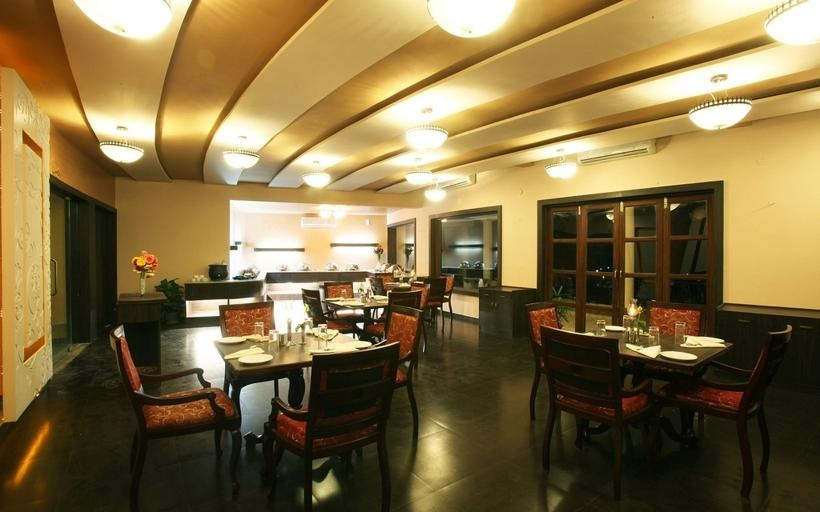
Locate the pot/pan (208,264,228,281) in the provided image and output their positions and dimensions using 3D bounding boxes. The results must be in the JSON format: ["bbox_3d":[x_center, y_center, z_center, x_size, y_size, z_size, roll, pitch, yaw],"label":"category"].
[{"bbox_3d":[-4.166,0.361,11.864,0.398,0.260,0.348,0,-7,-15],"label":"pot/pan"}]

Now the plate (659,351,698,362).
[{"bbox_3d":[3.033,1.139,6.173,0.398,0.067,0.239,-1,1,10],"label":"plate"}]

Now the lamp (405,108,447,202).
[{"bbox_3d":[0.287,-1.722,9.323,0.769,1.502,0.849,-4,-6,43],"label":"lamp"}]

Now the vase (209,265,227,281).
[{"bbox_3d":[-4.170,0.369,11.860,0.392,0.258,0.341,1,-8,-18],"label":"vase"}]

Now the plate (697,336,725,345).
[{"bbox_3d":[3.684,1.041,6.670,0.271,0.063,0.347,-1,1,23],"label":"plate"}]

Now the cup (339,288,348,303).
[{"bbox_3d":[-1.185,0.707,9.941,0.165,0.273,0.158,-10,-2,0],"label":"cup"}]

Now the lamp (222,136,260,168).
[{"bbox_3d":[-2.764,-1.669,8.915,0.478,0.438,0.459,1,-7,-8],"label":"lamp"}]

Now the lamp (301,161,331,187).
[{"bbox_3d":[-1.682,-1.499,10.199,0.510,0.512,0.485,2,-5,-30],"label":"lamp"}]

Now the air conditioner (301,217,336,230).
[{"bbox_3d":[-2.847,-1.038,17.034,0.973,0.302,1.024,-1,1,-6],"label":"air conditioner"}]

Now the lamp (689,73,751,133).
[{"bbox_3d":[3.951,-1.836,6.949,0.700,0.588,0.695,-2,-7,30],"label":"lamp"}]

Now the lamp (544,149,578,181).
[{"bbox_3d":[2.664,-1.600,9.477,0.589,0.507,0.566,1,-4,-4],"label":"lamp"}]

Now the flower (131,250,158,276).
[{"bbox_3d":[-4.709,0.136,9.623,0.493,0.460,0.464,12,-4,-9],"label":"flower"}]

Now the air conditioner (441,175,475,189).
[{"bbox_3d":[1.164,-1.624,12.150,0.158,0.210,0.959,-16,9,-36],"label":"air conditioner"}]

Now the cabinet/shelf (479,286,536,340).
[{"bbox_3d":[1.950,1.018,10.993,0.904,1.263,1.340,2,-3,-24],"label":"cabinet/shelf"}]

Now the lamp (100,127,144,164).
[{"bbox_3d":[-4.483,-1.669,8.570,0.569,0.526,0.547,-1,-7,-4],"label":"lamp"}]
